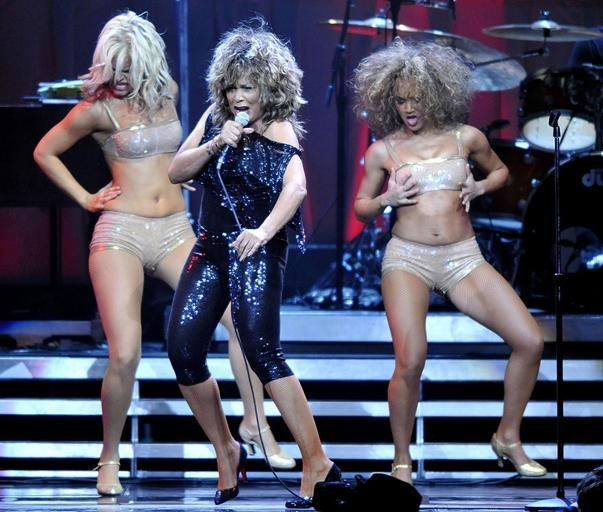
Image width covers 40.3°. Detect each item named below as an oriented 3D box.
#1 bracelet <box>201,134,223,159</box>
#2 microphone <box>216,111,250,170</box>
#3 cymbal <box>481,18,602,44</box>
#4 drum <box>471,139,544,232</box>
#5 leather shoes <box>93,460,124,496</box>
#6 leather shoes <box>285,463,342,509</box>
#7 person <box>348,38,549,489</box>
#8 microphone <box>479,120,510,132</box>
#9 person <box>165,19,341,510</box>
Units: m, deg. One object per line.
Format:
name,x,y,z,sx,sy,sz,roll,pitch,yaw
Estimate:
bracelet,-0.356,-0.452,3.326,0.089,0.036,0.066,-46,-1,40
microphone,-0.279,-0.467,3.316,0.133,0.242,0.157,0,10,-2
cymbal,1.687,-1.592,5.770,0.787,0.154,0.433,7,12,35
drum,1.454,-0.484,5.895,0.640,0.626,0.641,12,0,13
leather shoes,-0.853,0.995,3.674,0.116,0.178,0.187,-2,10,-14
leather shoes,0.041,0.948,3.288,0.221,0.210,0.142,0,10,0
person,0.636,-0.018,3.719,0.807,1.939,0.788,0,10,2
microphone,1.357,-0.937,5.852,0.193,0.057,0.142,-10,9,-6
person,-0.219,0.040,3.403,0.748,1.992,0.584,2,10,13
